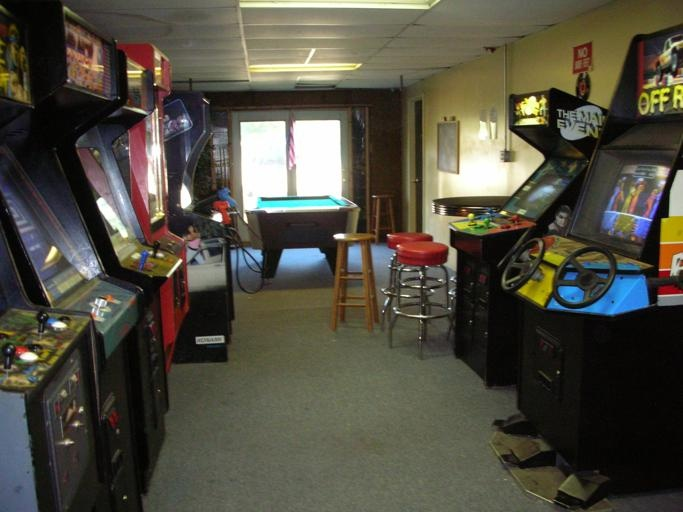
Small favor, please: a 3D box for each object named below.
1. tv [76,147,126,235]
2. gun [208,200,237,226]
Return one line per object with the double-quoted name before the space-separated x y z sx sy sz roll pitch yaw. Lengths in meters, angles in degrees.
"tv" -1.186 -0.307 2.542 0.134 0.461 0.254 -2 14 -2
"gun" -1.122 -0.410 4.728 0.346 0.078 0.394 -4 21 -11
